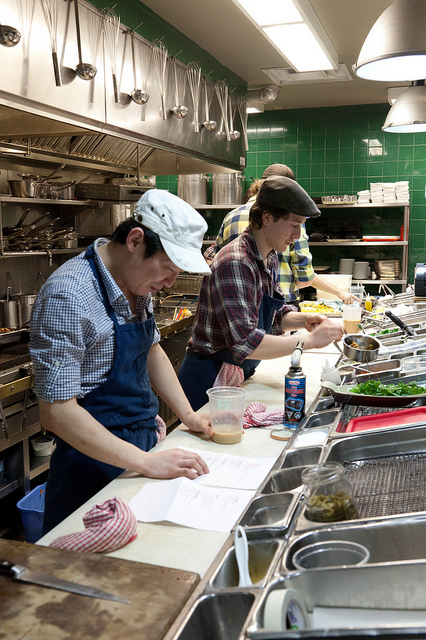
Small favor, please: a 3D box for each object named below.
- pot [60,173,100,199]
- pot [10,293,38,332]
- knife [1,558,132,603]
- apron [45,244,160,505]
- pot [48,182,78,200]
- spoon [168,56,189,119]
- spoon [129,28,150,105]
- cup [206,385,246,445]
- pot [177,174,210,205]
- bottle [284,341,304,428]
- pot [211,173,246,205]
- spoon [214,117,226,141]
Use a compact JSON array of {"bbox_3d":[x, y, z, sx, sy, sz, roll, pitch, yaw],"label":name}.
[{"bbox_3d":[-1.048,-1.017,3.550,0.366,0.190,0.139,1,3,34],"label":"pot"},{"bbox_3d":[-1.402,-0.052,3.366,0.169,0.257,0.280,-5,8,-14],"label":"pot"},{"bbox_3d":[-0.230,0.402,0.704,0.243,0.019,0.038,0,8,19],"label":"knife"},{"bbox_3d":[-0.282,0.218,1.540,0.335,0.886,0.365,9,12,4],"label":"apron"},{"bbox_3d":[-1.100,-0.939,3.365,0.196,0.116,0.077,1,9,9],"label":"pot"},{"bbox_3d":[-0.268,-1.754,3.436,0.111,0.474,0.206,-3,8,-3],"label":"spoon"},{"bbox_3d":[-0.479,-1.622,2.904,0.104,0.483,0.246,-3,8,1],"label":"spoon"},{"bbox_3d":[0.042,0.302,1.469,0.167,0.174,0.162,-1,-1,0],"label":"cup"},{"bbox_3d":[-0.284,-1.785,6.307,0.408,0.407,0.339,-3,8,-2],"label":"pot"},{"bbox_3d":[0.265,0.238,1.529,0.067,0.253,0.180,-2,8,9],"label":"bottle"},{"bbox_3d":[0.187,-1.730,6.195,0.448,0.457,0.427,0,10,0],"label":"pot"},{"bbox_3d":[0.062,-1.790,4.272,0.033,0.231,0.233,0,8,19],"label":"spoon"}]
